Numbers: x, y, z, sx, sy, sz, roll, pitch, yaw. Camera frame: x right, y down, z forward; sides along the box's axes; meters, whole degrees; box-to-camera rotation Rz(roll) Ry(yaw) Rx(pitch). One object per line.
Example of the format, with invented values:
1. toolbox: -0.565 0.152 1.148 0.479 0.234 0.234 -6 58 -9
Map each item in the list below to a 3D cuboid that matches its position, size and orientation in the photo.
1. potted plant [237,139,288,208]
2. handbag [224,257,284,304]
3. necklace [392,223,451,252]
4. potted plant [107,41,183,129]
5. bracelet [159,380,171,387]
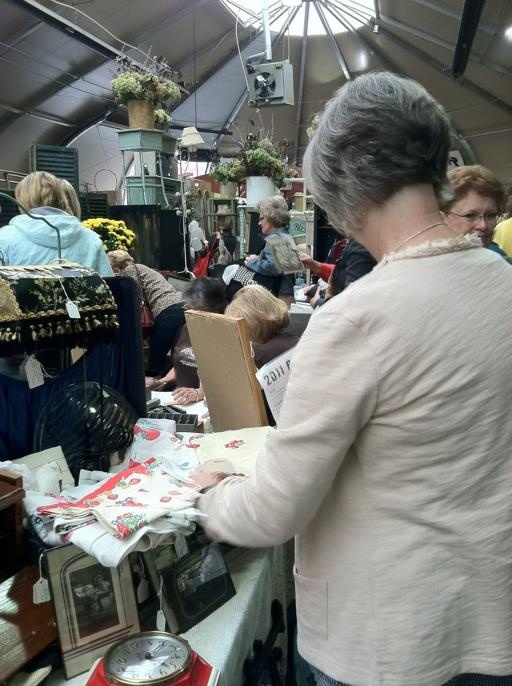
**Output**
1. potted plant: 0.108 -2.301 7.136 0.761 0.846 0.726 10 22 16
2. handbag: -0.051 -0.546 4.647 0.504 0.441 0.174 -12 -20 12
3. necklace: 0.238 -0.153 0.762 0.091 0.041 0.030 -8 15 -30
4. potted plant: -1.424 -3.119 6.726 0.760 0.778 0.683 13 25 15
5. bracelet: -0.531 0.235 3.116 0.035 0.033 0.069 5 -10 10
